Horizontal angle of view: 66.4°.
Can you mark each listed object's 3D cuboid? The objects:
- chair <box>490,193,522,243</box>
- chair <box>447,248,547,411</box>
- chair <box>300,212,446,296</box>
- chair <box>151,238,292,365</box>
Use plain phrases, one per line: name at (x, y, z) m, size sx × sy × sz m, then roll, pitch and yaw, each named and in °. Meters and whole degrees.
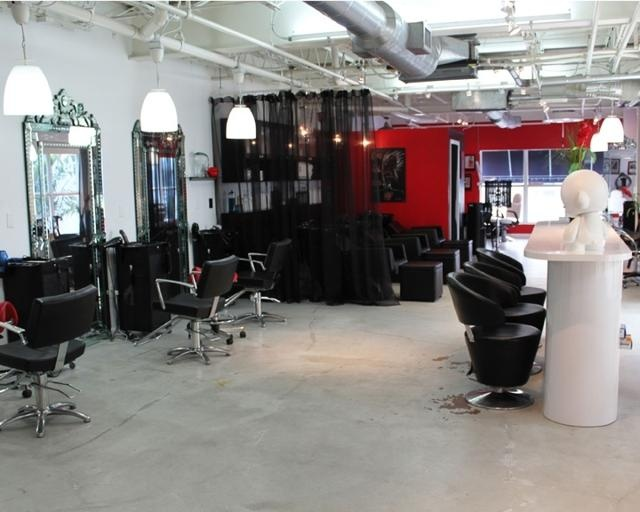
chair at (6.428, -1.306, 16.982) m, size 1.248 × 1.593 × 1.273 m, roll 10°, pitch 21°, yaw 44°
chair at (1.556, 0.702, 4.351) m, size 0.735 × 1.132 × 0.983 m, roll 1°, pitch 8°, yaw 21°
chair at (0.862, -0.029, 9.179) m, size 1.898 × 1.689 × 1.671 m, roll -1°, pitch 3°, yaw 15°
chair at (-1.375, 0.645, 6.725) m, size 0.763 × 0.813 × 1.639 m, roll 5°, pitch 8°, yaw 21°
